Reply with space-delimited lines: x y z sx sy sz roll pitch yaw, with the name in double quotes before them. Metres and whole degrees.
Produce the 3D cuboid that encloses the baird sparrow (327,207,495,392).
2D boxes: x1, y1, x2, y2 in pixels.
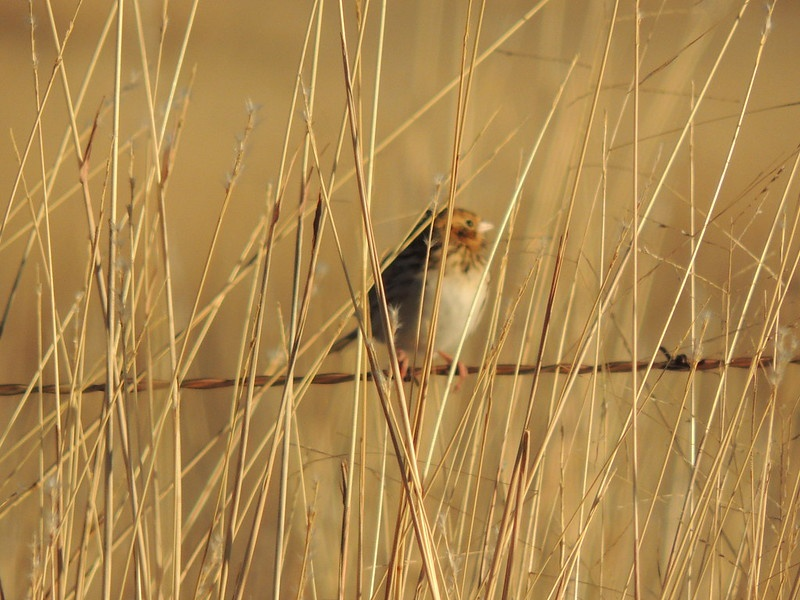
"baird sparrow" 0.067 -0.051 4.338 0.310 0.486 0.613 20 -94 -36
